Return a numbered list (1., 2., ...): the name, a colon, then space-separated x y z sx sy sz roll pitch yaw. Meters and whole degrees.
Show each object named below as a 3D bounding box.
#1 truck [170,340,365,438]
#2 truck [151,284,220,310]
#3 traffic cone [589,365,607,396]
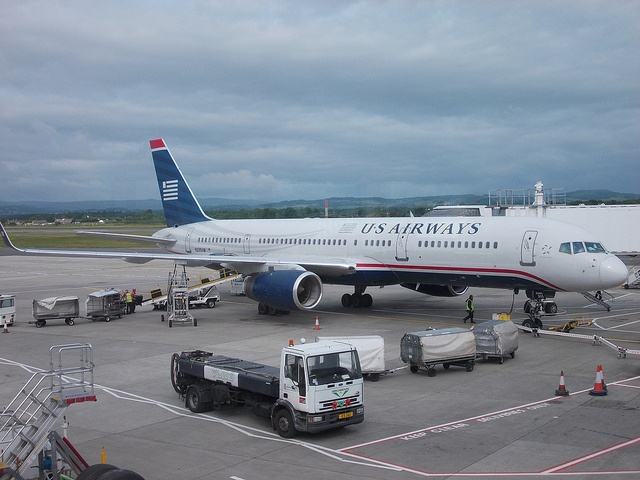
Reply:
1. truck: -1.491 4.648 19.546 7.502 1.847 2.703 0 1 37
2. truck: -9.791 4.116 41.083 4.575 1.349 1.964 -1 1 7
3. traffic cone: 10.058 4.980 20.810 0.591 0.994 1.109 -1 5 23
